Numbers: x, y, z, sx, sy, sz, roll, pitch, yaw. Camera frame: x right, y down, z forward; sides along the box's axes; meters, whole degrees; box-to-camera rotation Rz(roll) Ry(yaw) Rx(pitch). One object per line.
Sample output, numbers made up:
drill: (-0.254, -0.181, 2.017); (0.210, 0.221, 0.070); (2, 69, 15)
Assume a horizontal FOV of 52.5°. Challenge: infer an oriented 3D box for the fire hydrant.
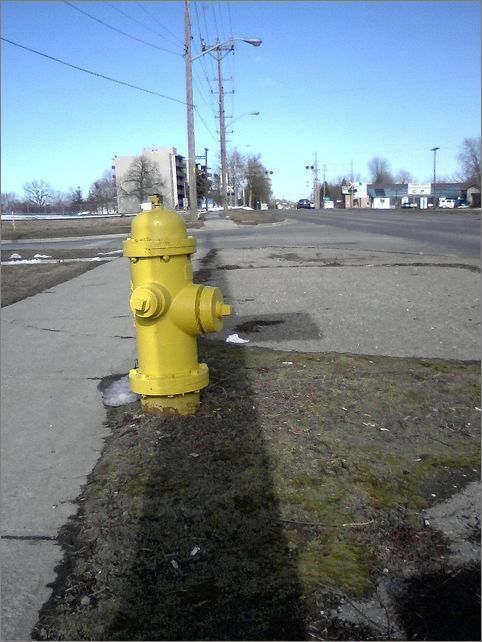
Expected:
fire hydrant: (-0.382, -0.082, 2.790); (0.590, 1.249, 0.395); (-7, 15, -13)
